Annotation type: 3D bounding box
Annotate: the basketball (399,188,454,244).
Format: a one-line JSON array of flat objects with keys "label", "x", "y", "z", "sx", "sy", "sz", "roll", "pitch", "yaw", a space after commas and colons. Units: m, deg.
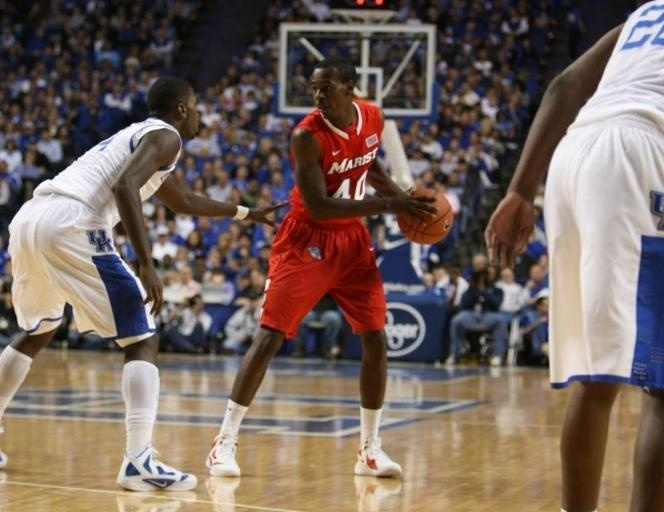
[{"label": "basketball", "x": 0.480, "y": -0.204, "z": 5.131, "sx": 0.311, "sy": 0.341, "sz": 0.308, "roll": -5, "pitch": -2, "yaw": 32}]
